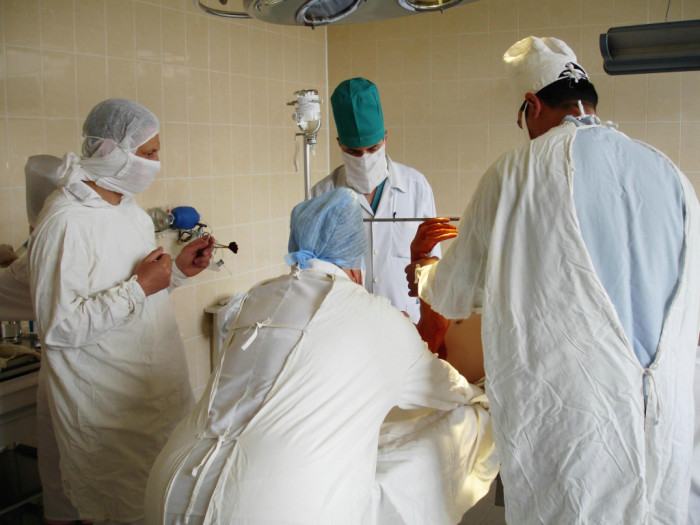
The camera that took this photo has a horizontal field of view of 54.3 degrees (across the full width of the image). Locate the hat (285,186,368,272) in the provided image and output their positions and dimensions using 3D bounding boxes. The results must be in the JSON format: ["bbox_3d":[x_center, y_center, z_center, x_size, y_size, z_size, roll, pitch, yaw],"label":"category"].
[{"bbox_3d":[-0.062,-0.126,2.402,0.240,0.274,0.259,2,6,27],"label":"hat"}]

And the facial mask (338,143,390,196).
[{"bbox_3d":[0.072,-0.413,3.162,0.163,0.181,0.225,-4,43,3],"label":"facial mask"}]

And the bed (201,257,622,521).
[{"bbox_3d":[0.154,0.327,2.572,0.810,0.992,1.011,0,-4,27],"label":"bed"}]

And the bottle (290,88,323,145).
[{"bbox_3d":[-0.209,-0.671,3.164,0.147,0.280,0.352,1,6,-5],"label":"bottle"}]

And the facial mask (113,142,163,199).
[{"bbox_3d":[-0.834,-0.378,2.768,0.175,0.167,0.193,15,23,-13],"label":"facial mask"}]

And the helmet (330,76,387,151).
[{"bbox_3d":[0.079,-0.682,3.153,0.202,0.295,0.319,-13,19,13],"label":"helmet"}]
